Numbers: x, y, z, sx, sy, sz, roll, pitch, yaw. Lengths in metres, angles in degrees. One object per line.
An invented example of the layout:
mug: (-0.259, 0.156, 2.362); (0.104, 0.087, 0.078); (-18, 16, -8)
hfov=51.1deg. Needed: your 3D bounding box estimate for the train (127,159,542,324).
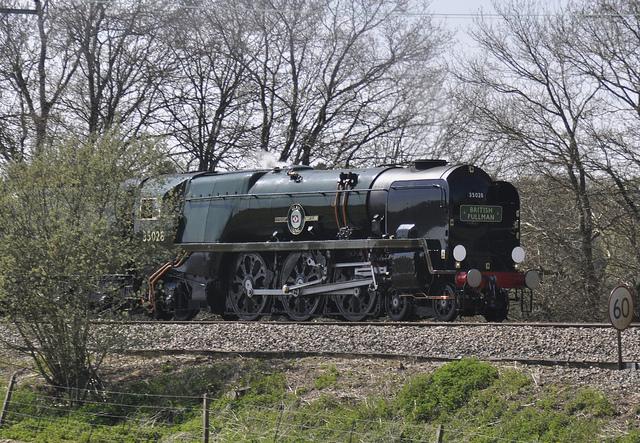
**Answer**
train: (-1.676, 0.500, 21.280); (15.814, 5.047, 5.069); (0, -3, 39)
